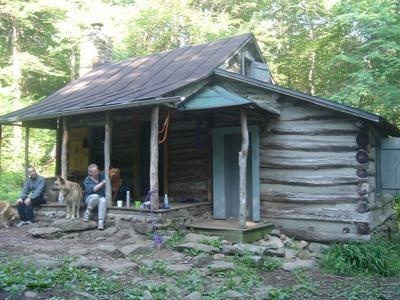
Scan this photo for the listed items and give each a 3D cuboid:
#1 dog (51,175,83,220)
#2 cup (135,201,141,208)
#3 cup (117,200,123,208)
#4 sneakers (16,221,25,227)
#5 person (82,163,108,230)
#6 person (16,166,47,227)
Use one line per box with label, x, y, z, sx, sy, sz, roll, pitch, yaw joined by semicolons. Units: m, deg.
dog;-3.639;1.394;10.775;0.554;0.993;1.430;-9;-19;6
cup;-1.667;1.489;10.599;0.197;0.216;0.191;-1;-8;0
cup;-2.281;1.520;10.775;0.195;0.172;0.183;2;-5;0
sneakers;-5.128;2.122;11.011;0.294;0.112;0.124;5;-2;-42
person;-2.846;1.245;10.514;0.644;1.624;0.893;4;8;-16
person;-4.849;1.303;11.100;0.742;1.695;0.483;3;8;-21
